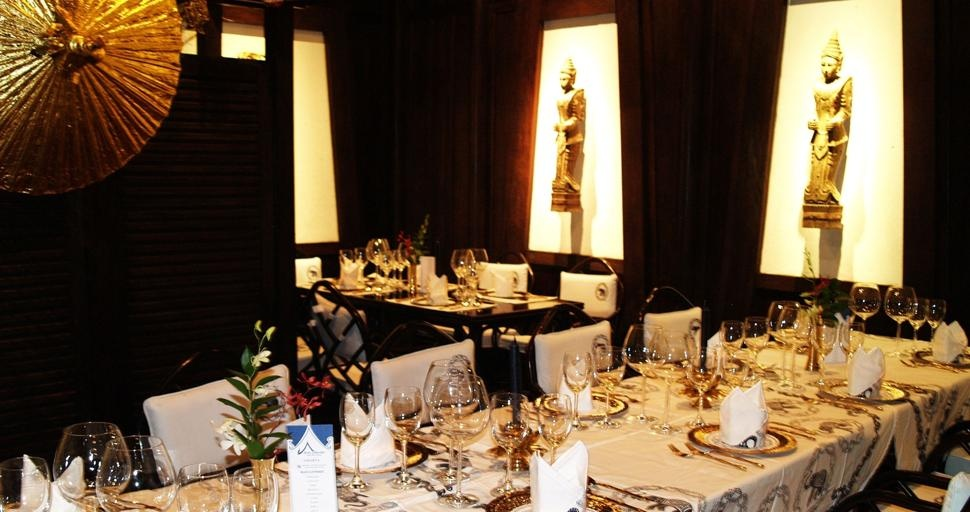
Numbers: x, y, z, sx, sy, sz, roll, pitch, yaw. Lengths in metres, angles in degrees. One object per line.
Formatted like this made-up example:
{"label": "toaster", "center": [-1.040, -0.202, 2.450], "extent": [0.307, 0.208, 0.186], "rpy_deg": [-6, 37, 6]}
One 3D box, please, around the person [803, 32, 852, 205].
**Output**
{"label": "person", "center": [3.000, -1.183, 5.747], "extent": [0.352, 1.477, 0.181], "rpy_deg": [2, 6, 24]}

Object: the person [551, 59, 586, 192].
{"label": "person", "center": [0.924, -1.424, 7.195], "extent": [0.349, 1.448, 0.200], "rpy_deg": [-1, 5, -7]}
